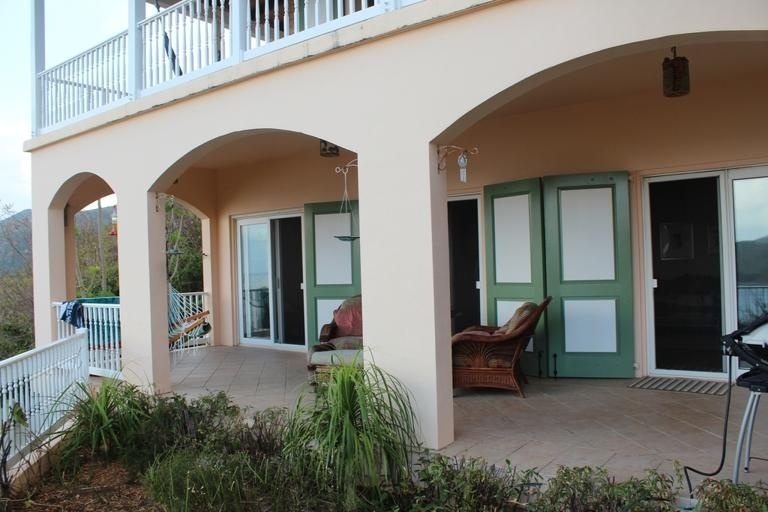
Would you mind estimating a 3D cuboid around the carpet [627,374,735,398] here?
[{"bbox_3d":[3.716,1.630,7.189,1.111,0.050,0.659,0,3,26],"label":"carpet"}]

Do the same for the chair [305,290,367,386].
[{"bbox_3d":[-0.614,1.161,7.830,0.796,1.006,1.110,-4,-3,28],"label":"chair"}]

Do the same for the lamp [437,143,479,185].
[{"bbox_3d":[0.781,-0.968,6.028,0.198,0.398,0.386,-19,24,-29],"label":"lamp"}]

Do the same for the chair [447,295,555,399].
[{"bbox_3d":[1.447,1.142,7.465,1.376,1.224,1.102,-1,0,3],"label":"chair"}]

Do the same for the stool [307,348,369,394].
[{"bbox_3d":[-0.489,1.212,5.973,0.754,0.377,0.557,-3,-6,18],"label":"stool"}]
